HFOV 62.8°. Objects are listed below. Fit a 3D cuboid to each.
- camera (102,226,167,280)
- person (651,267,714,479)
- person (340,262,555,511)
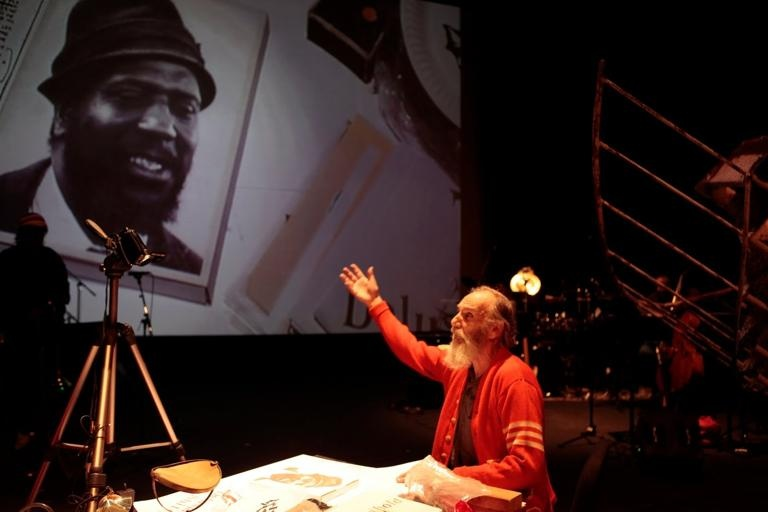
[{"bbox_3d":[-1.887,0.009,4.697,0.392,0.330,0.168,-23,-8,5],"label":"camera"},{"bbox_3d":[2.914,1.476,6.269,0.489,1.409,0.840,-3,-14,22],"label":"person"},{"bbox_3d":[0.557,1.005,4.605,1.187,1.559,0.597,-6,-15,32],"label":"person"}]
